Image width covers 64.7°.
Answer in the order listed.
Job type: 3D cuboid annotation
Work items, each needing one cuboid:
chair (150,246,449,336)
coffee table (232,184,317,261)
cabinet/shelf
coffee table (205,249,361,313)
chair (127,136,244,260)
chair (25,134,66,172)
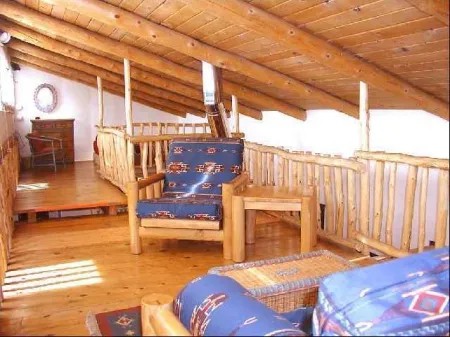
[{"bbox_3d":[0.263,0.437,1.179,0.747,0.240,0.516,-1,4,22],"label":"chair"},{"bbox_3d":[0.415,0.446,3.431,0.860,0.501,0.755,-1,8,-5],"label":"coffee table"},{"bbox_3d":[-4.358,-0.698,9.146,1.061,0.974,0.632,-1,-7,-15],"label":"cabinet/shelf"},{"bbox_3d":[0.338,0.613,1.902,0.728,0.155,0.391,-8,8,-8],"label":"coffee table"},{"bbox_3d":[-0.325,0.257,3.536,1.059,1.054,0.904,1,12,8],"label":"chair"},{"bbox_3d":[-4.202,-0.427,8.426,0.757,0.849,1.179,-5,12,-22],"label":"chair"}]
